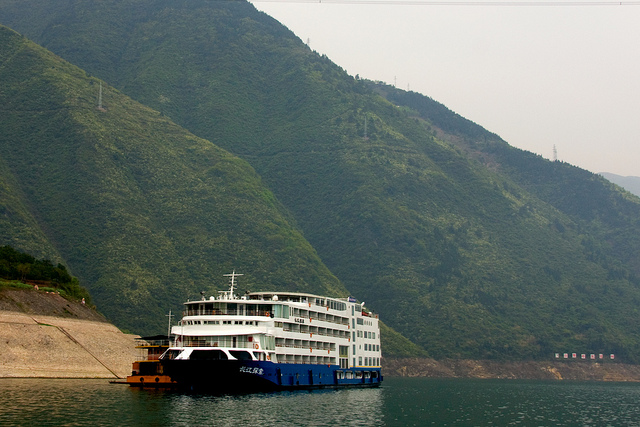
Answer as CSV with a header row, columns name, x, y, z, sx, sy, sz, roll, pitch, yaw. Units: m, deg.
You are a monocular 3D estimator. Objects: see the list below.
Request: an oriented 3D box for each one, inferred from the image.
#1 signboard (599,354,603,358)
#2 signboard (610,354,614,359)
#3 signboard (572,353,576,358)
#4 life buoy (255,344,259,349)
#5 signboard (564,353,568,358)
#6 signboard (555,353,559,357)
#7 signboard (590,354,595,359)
name,x,y,z,sx,sy,sz,roll,pitch,yaw
signboard,116.022,59.024,552.627,1.360,1.225,1.217,0,-9,1
signboard,120.651,59.358,552.973,1.748,1.983,0.480,7,-22,-13
signboard,104.697,58.740,551.495,2.107,1.721,1.392,2,-1,8
life buoy,-20.072,41.806,418.797,1.031,1.424,0.238,5,-22,-8
signboard,101.200,58.569,550.538,1.609,2.084,0.664,6,-22,-10
signboard,97.352,58.383,550.005,1.556,1.734,0.588,0,-22,6
signboard,112.262,59.127,551.761,2.406,1.804,0.531,-1,-3,-2
